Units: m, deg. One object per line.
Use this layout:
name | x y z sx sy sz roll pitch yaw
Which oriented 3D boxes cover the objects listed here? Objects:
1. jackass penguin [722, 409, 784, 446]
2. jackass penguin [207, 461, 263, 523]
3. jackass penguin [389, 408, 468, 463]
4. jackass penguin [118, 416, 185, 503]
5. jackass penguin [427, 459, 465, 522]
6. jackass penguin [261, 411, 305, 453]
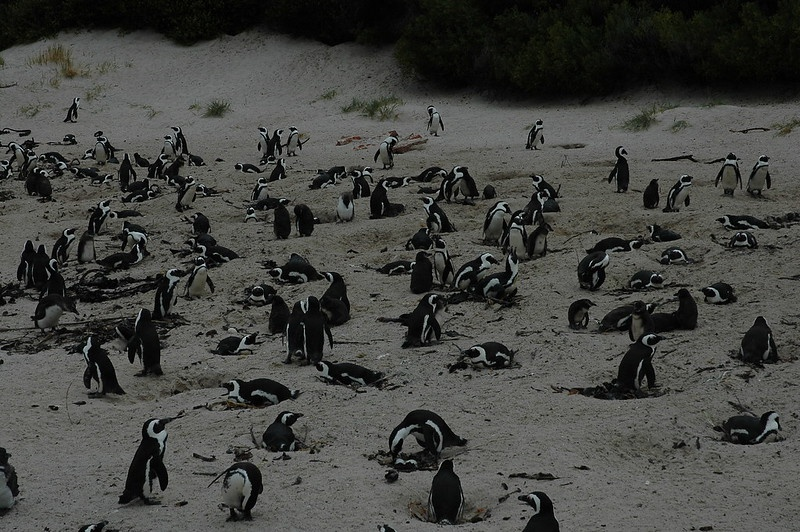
jackass penguin | 4.271 1.932 12.144 0.611 0.398 0.360 21 6 -8
jackass penguin | -1.853 2.517 11.427 0.668 0.632 0.523 6 -4 -4
jackass penguin | 0.338 1.998 12.021 1.004 0.567 0.514 -9 5 -22
jackass penguin | -2.958 2.255 11.565 0.603 0.905 0.432 -3 11 -12
jackass penguin | 0.523 2.513 11.217 0.417 0.618 0.355 -1 10 3
jackass penguin | -1.444 2.047 12.272 0.499 0.338 0.903 3 13 2
